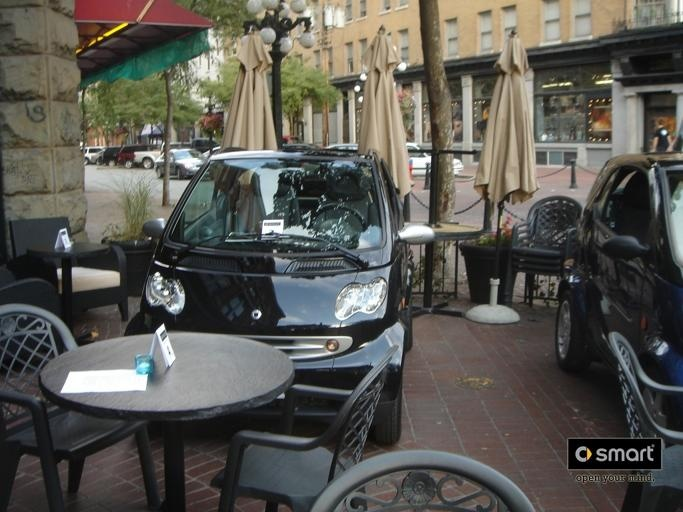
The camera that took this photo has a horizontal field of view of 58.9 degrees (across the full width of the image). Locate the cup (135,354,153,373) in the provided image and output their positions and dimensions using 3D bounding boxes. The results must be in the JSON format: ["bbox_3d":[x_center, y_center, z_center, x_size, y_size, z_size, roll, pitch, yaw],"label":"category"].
[{"bbox_3d":[-1.018,0.561,3.159,0.076,0.091,0.083,1,8,0],"label":"cup"}]

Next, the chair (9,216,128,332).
[{"bbox_3d":[-3.390,0.199,7.528,0.992,1.489,1.008,-3,4,30],"label":"chair"}]

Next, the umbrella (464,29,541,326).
[{"bbox_3d":[2.295,-1.168,8.421,0.842,3.936,1.411,4,10,21],"label":"umbrella"}]

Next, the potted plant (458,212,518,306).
[{"bbox_3d":[2.312,0.083,9.097,0.936,1.149,0.925,-3,7,-27],"label":"potted plant"}]

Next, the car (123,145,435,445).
[{"bbox_3d":[-0.424,0.098,4.996,1.622,1.636,2.836,0,3,8],"label":"car"}]

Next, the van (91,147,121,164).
[{"bbox_3d":[-20.927,-8.985,54.182,2.533,1.473,1.614,11,17,36],"label":"van"}]

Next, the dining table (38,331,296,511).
[{"bbox_3d":[-0.852,0.715,3.232,0.975,0.862,1.085,5,17,5],"label":"dining table"}]

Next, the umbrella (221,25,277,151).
[{"bbox_3d":[-1.318,-2.378,8.642,0.751,1.636,0.709,-1,9,-8],"label":"umbrella"}]

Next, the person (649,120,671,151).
[{"bbox_3d":[15.999,-6.096,30.227,0.875,1.501,3.352,5,11,26],"label":"person"}]

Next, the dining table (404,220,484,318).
[{"bbox_3d":[1.540,0.166,8.553,1.216,1.119,1.207,-8,17,-26],"label":"dining table"}]
